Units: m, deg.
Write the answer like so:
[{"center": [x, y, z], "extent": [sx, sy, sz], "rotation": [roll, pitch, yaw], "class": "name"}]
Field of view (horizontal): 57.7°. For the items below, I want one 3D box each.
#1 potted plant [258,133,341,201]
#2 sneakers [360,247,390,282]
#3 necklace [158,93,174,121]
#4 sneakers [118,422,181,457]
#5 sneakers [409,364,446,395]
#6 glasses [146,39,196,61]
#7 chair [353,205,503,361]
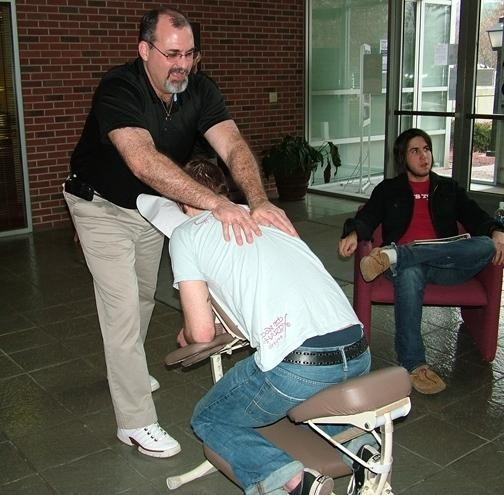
[{"center": [0.647, -1.381, 7.969], "extent": [1.537, 0.926, 1.128], "rotation": [-1, 8, -7], "class": "potted plant"}, {"center": [0.682, 0.098, 2.551], "extent": [0.200, 0.139, 0.071], "rotation": [-32, -2, 2], "class": "sneakers"}, {"center": [-0.367, -0.613, 1.982], "extent": [0.073, 0.086, 0.022], "rotation": [-3, 9, -29], "class": "necklace"}, {"center": [-0.440, 0.859, 2.094], "extent": [0.317, 0.126, 0.118], "rotation": [4, 6, 24], "class": "sneakers"}, {"center": [0.993, 0.715, 2.499], "extent": [0.256, 0.129, 0.127], "rotation": [-7, 14, -22], "class": "sneakers"}, {"center": [-0.317, -0.769, 1.789], "extent": [0.190, 0.077, 0.082], "rotation": [-5, 13, -12], "class": "glasses"}, {"center": [1.092, 0.287, 3.064], "extent": [0.775, 0.707, 0.851], "rotation": [2, 3, 9], "class": "chair"}]
